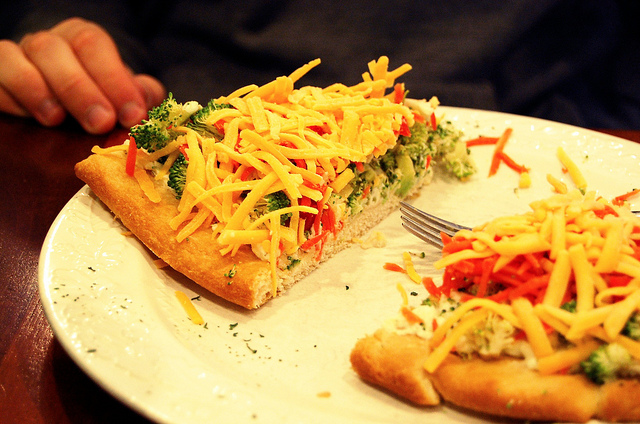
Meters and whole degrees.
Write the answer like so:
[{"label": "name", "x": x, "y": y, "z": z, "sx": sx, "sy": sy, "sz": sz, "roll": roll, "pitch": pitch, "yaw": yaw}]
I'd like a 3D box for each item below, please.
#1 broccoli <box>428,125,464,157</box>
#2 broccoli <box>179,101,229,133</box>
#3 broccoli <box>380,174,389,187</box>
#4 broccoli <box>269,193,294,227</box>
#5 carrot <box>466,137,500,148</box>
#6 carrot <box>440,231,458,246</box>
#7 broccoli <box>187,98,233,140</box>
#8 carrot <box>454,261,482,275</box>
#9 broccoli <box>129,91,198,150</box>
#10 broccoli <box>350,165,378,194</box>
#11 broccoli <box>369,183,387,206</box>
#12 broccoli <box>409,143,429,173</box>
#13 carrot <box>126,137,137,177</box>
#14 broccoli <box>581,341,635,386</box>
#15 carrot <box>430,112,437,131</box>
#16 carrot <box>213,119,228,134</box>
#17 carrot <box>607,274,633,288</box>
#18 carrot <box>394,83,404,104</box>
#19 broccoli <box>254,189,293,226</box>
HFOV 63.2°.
[{"label": "broccoli", "x": 1.336, "y": -0.721, "z": 5.496, "sx": 0.343, "sy": 0.179, "sz": 0.346, "roll": -39, "pitch": 83, "yaw": 4}, {"label": "broccoli", "x": -1.013, "y": -0.865, "z": 4.679, "sx": 0.296, "sy": 0.163, "sz": 0.362, "roll": -22, "pitch": 14, "yaw": 44}, {"label": "broccoli", "x": 0.646, "y": -0.305, "z": 5.122, "sx": 0.028, "sy": 0.105, "sz": 0.106, "roll": -21, "pitch": 14, "yaw": 34}, {"label": "broccoli", "x": -0.299, "y": -0.019, "z": 4.288, "sx": 0.216, "sy": 0.085, "sz": 0.217, "roll": -23, "pitch": 83, "yaw": -10}, {"label": "carrot", "x": 1.701, "y": -0.758, "z": 5.699, "sx": 0.539, "sy": 0.116, "sz": 0.086, "roll": -1, "pitch": 85, "yaw": 7}, {"label": "carrot", "x": 1.068, "y": 0.227, "z": 4.301, "sx": 0.137, "sy": 0.159, "sz": 0.055, "roll": 7, "pitch": 92, "yaw": 19}, {"label": "broccoli", "x": -1.006, "y": -0.836, "z": 4.752, "sx": 0.323, "sy": 0.158, "sz": 0.365, "roll": -16, "pitch": 46, "yaw": 15}, {"label": "carrot", "x": 1.119, "y": 0.418, "z": 3.905, "sx": 0.117, "sy": 0.032, "sz": 0.110, "roll": 2, "pitch": 13, "yaw": -30}, {"label": "broccoli", "x": -1.406, "y": -0.722, "z": 4.676, "sx": 0.322, "sy": 0.524, "sz": 0.217, "roll": -18, "pitch": 83, "yaw": 23}, {"label": "broccoli", "x": 0.432, "y": -0.299, "z": 4.947, "sx": 0.245, "sy": 0.081, "sz": 0.234, "roll": 11, "pitch": 63, "yaw": -21}, {"label": "broccoli", "x": 0.567, "y": -0.164, "z": 5.048, "sx": 0.187, "sy": 0.058, "sz": 0.187, "roll": -12, "pitch": 47, "yaw": -15}, {"label": "broccoli", "x": 1.053, "y": -0.523, "z": 5.391, "sx": 0.296, "sy": 0.211, "sz": 0.097, "roll": 31, "pitch": 85, "yaw": 7}, {"label": "carrot", "x": -1.703, "y": -0.490, "z": 4.730, "sx": 0.084, "sy": 0.092, "sz": 0.363, "roll": 11, "pitch": 103, "yaw": 20}, {"label": "broccoli", "x": 1.974, "y": 1.025, "z": 3.580, "sx": 0.318, "sy": 0.182, "sz": 0.205, "roll": -32, "pitch": 57, "yaw": -16}, {"label": "carrot", "x": 1.186, "y": -0.935, "z": 5.405, "sx": 0.040, "sy": 0.154, "sz": 0.040, "roll": -14, "pitch": 14, "yaw": 13}, {"label": "carrot", "x": -0.885, "y": -0.755, "z": 4.705, "sx": 0.116, "sy": 0.035, "sz": 0.115, "roll": -41, "pitch": 61, "yaw": -6}, {"label": "carrot", "x": 2.124, "y": 0.481, "z": 3.685, "sx": 0.181, "sy": 0.039, "sz": 0.097, "roll": -7, "pitch": 53, "yaw": 1}, {"label": "carrot", "x": 0.813, "y": -1.167, "z": 5.308, "sx": 0.100, "sy": 0.180, "sz": 0.283, "roll": 1, "pitch": 54, "yaw": 8}, {"label": "broccoli", "x": -0.355, "y": -0.037, "z": 4.279, "sx": 0.105, "sy": 0.272, "sz": 0.267, "roll": 3, "pitch": 85, "yaw": 56}]
